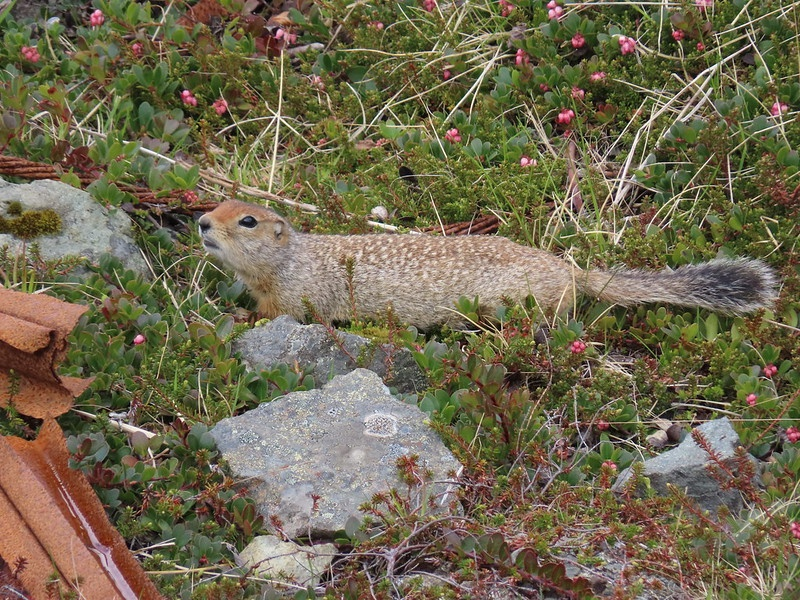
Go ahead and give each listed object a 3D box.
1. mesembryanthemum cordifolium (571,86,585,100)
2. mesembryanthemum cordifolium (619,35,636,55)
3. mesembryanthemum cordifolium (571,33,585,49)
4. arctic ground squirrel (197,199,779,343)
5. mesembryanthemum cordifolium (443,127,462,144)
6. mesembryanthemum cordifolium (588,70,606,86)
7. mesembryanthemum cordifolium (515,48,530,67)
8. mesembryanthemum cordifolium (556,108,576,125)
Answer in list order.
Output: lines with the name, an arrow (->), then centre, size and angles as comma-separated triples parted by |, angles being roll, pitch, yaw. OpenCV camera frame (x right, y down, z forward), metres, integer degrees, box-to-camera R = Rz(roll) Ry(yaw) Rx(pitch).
mesembryanthemum cordifolium -> 1.558, -1.829, 8.011 | 0.086, 0.061, 0.115 | -5, 94, -2
mesembryanthemum cordifolium -> 1.979, -2.230, 7.985 | 0.123, 0.084, 0.176 | -5, 88, -29
mesembryanthemum cordifolium -> 1.591, -2.335, 8.171 | 0.097, 0.059, 0.120 | -22, 53, -15
arctic ground squirrel -> 0.549, 0.096, 7.165 | 4.480, 0.964, 1.362 | 5, 90, 6
mesembryanthemum cordifolium -> 0.466, -1.467, 8.111 | 0.153, 0.093, 0.139 | 8, 63, -1
mesembryanthemum cordifolium -> 1.725, -1.983, 8.028 | 0.132, 0.110, 0.111 | -5, 64, -7
mesembryanthemum cordifolium -> 1.097, -2.206, 8.241 | 0.054, 0.148, 0.157 | 1, 78, 34
mesembryanthemum cordifolium -> 1.444, -1.614, 8.033 | 0.073, 0.156, 0.101 | 34, 77, 21
